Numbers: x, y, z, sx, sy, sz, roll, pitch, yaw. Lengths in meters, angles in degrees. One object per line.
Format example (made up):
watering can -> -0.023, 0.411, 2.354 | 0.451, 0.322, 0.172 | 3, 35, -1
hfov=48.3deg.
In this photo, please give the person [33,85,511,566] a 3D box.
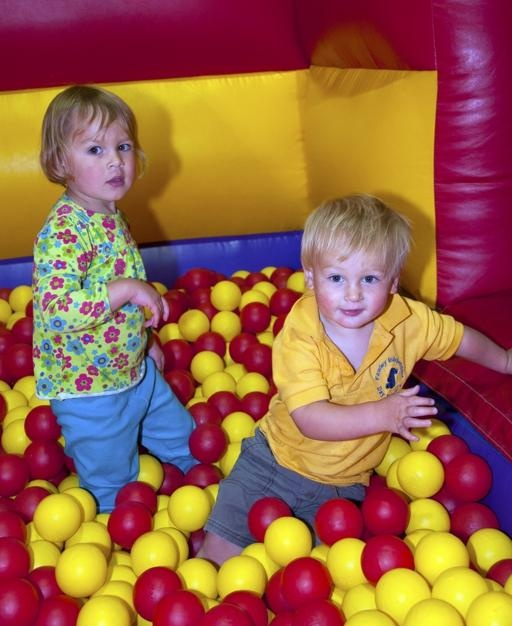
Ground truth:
person -> -0.240, -0.126, 1.754 | 1.578, 1.286, 0.776 | 8, 24, 10
